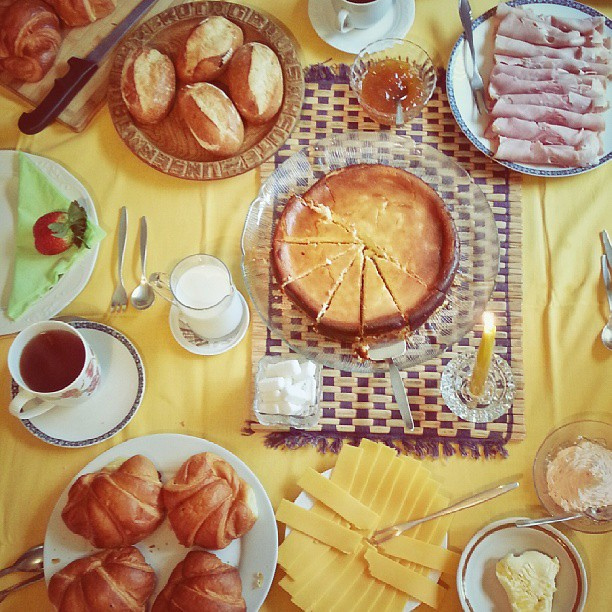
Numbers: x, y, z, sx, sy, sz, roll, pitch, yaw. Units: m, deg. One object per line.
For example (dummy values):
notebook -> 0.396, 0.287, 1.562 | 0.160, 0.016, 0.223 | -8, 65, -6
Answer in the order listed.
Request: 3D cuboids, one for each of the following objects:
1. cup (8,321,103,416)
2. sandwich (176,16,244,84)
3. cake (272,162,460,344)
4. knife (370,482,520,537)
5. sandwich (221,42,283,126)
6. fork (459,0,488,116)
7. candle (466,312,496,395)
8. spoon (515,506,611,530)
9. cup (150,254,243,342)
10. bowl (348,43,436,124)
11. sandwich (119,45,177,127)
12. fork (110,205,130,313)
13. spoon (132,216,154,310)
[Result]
cup -> -0.649, 0.190, 1.665 | 0.191, 0.192, 0.241 | 5, -41, 3
sandwich -> -0.283, -0.743, 1.922 | 0.124, 0.237, 0.071 | 34, -10, 3
cake -> 0.193, -0.168, 1.838 | 0.108, 0.508, 0.479 | -14, 35, -40
knife -> 0.343, 0.515, 1.634 | 0.316, 0.038, 0.018 | -21, -52, 0
sandwich -> -0.148, -0.617, 1.831 | 0.156, 0.229, 0.111 | -5, -1, -1
fork -> 0.492, -0.757, 1.935 | 0.042, 0.443, 0.047 | -8, 1, 11
candle -> 0.432, 0.138, 1.587 | 0.044, 0.051, 0.235 | -1, -47, 6
spoon -> 0.639, 0.517, 1.587 | 0.219, 0.051, 0.040 | -5, -18, -5
cup -> -0.296, -0.012, 1.744 | 0.168, 0.112, 0.151 | 27, -11, 15
bowl -> 0.271, -0.710, 2.022 | 0.261, 0.104, 0.282 | -6, -10, -1
sandwich -> -0.459, -0.659, 1.885 | 0.166, 0.262, 0.081 | 0, -23, -11
fork -> -0.534, -0.131, 1.867 | 0.041, 0.328, 0.035 | 1, -13, -5
spoon -> -0.467, -0.122, 1.834 | 0.048, 0.247, 0.033 | -1, -9, 2
